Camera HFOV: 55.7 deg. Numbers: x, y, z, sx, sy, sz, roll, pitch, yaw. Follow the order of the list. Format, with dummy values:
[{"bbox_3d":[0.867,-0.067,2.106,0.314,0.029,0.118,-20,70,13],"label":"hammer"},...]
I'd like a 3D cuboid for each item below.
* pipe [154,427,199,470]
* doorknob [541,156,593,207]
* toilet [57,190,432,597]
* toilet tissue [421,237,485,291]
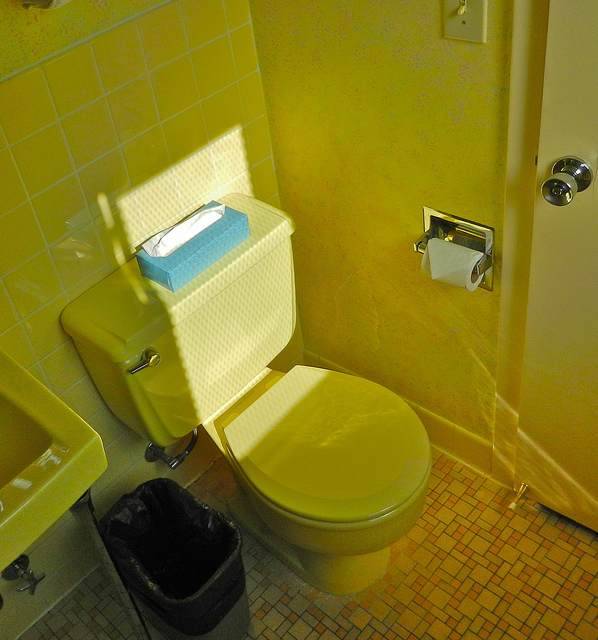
[{"bbox_3d":[-0.351,0.348,1.528,0.107,0.057,0.106,41,16,20],"label":"pipe"},{"bbox_3d":[0.472,-0.247,1.002,0.059,0.060,0.047,39,54,17],"label":"doorknob"},{"bbox_3d":[-0.043,0.283,1.446,0.766,0.837,0.587,25,46,32],"label":"toilet"},{"bbox_3d":[0.343,-0.127,1.265,0.107,0.088,0.123,-25,40,-34],"label":"toilet tissue"}]
